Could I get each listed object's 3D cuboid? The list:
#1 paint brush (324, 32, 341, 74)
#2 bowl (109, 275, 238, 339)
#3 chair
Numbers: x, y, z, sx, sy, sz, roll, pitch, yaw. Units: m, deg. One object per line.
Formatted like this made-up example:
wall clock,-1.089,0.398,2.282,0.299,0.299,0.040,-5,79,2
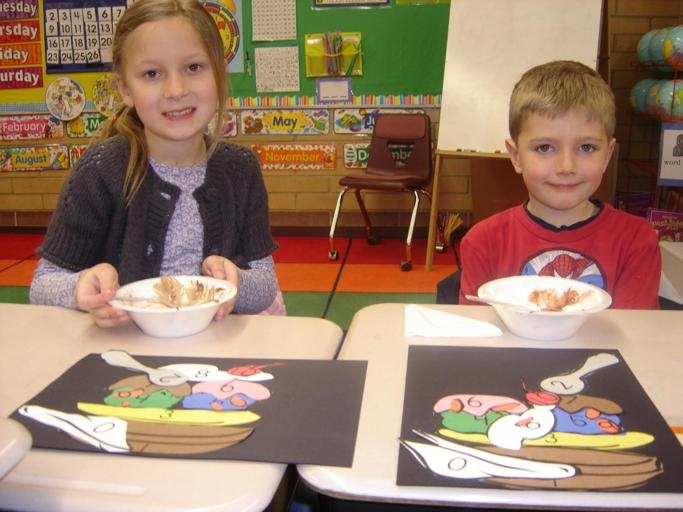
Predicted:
paint brush,-0.053,-1.352,3.859,0.109,0.273,0.048,6,16,23
bowl,-0.268,0.077,0.941,0.122,0.040,0.128,2,18,-1
chair,0.261,-0.475,3.732,0.673,0.890,1.019,1,15,8
